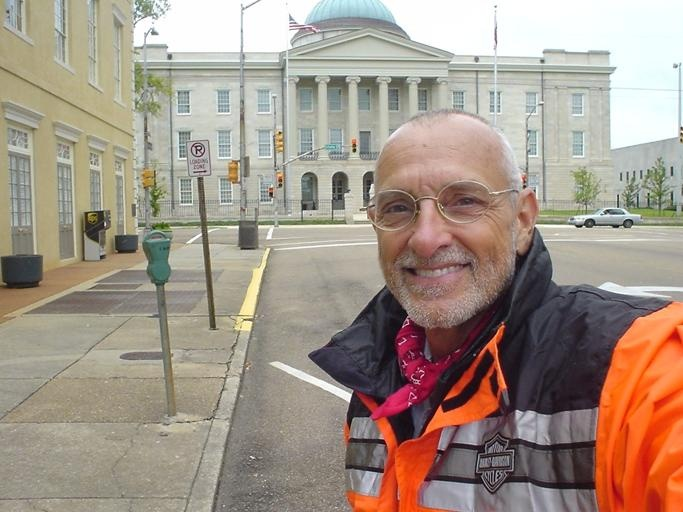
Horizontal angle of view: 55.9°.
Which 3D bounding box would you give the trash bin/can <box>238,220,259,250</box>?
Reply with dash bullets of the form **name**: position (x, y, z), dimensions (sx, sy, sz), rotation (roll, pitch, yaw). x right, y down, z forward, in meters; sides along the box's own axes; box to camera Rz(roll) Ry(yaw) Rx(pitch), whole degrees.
- **trash bin/can**: position (-3.598, -0.825, 25.091), dimensions (0.709, 1.106, 0.686), rotation (-2, 6, -13)
